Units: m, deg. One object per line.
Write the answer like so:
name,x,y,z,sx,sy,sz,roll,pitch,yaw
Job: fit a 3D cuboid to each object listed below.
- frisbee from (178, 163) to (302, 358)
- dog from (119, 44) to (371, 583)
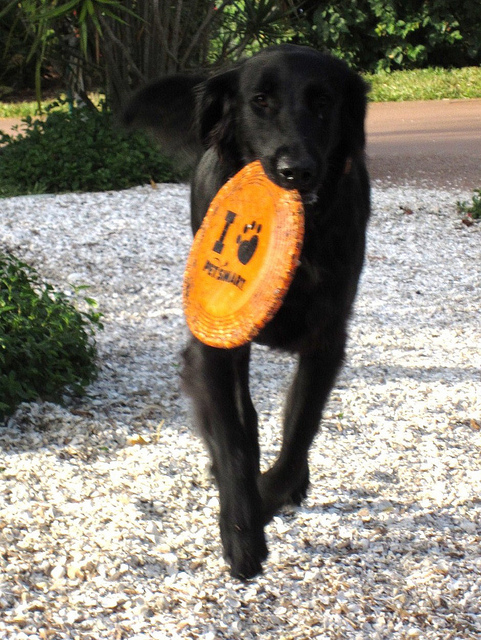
frisbee,0.089,-0.192,2.482,0.054,0.567,0.497,23,8,-36
dog,0.076,-0.066,2.475,0.665,1.635,0.946,1,11,-12
